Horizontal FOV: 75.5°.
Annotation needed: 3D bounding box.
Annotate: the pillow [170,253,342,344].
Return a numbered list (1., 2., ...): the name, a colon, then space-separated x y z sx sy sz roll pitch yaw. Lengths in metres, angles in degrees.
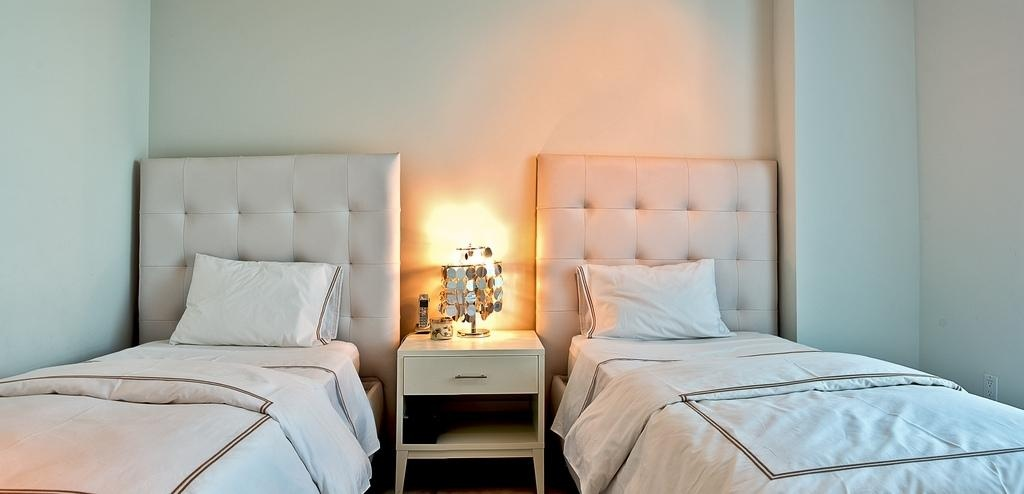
1. pillow: -1.890 0.435 5.010 1.242 0.612 0.298 1 -14 1

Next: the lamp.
1. lamp: -0.313 0.329 5.102 0.491 0.707 0.270 -3 3 -1

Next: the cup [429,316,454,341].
1. cup: -0.529 0.624 5.077 0.189 0.143 0.168 -4 -8 23

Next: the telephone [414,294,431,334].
1. telephone: -0.700 0.516 5.108 0.115 0.301 0.073 -3 3 -7
